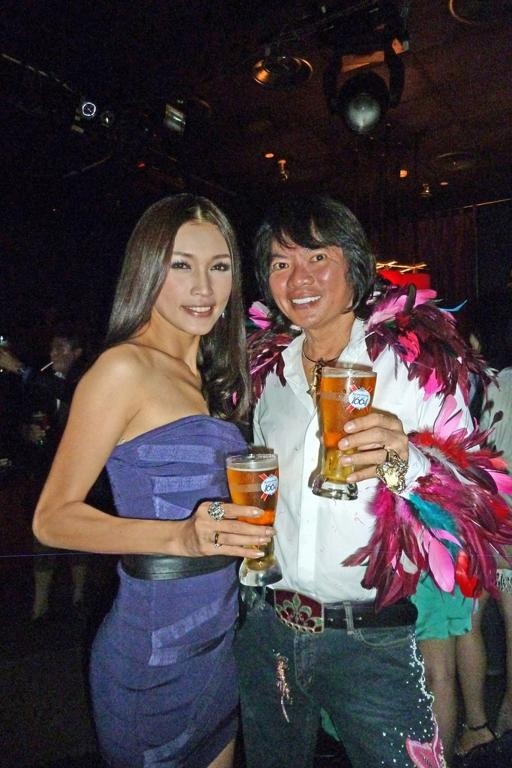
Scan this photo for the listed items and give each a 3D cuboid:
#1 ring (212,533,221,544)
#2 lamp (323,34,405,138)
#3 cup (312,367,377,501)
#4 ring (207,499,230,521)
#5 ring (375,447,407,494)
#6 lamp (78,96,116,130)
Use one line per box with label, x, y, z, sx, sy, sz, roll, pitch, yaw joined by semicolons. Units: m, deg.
ring;-0.087;0.338;1.289;0.012;0.028;0.015;1;-3;-9
lamp;0.591;-1.603;3.213;0.323;0.422;0.213;4;2;10
cup;0.206;0.122;1.399;0.136;0.321;0.187;1;-3;4
ring;-0.085;0.278;1.291;0.044;0.037;0.031;1;-3;3
ring;0.327;0.208;1.424;0.081;0.092;0.023;-9;9;28
lamp;-0.890;-1.549;3.385;0.103;0.117;0.214;5;10;0
